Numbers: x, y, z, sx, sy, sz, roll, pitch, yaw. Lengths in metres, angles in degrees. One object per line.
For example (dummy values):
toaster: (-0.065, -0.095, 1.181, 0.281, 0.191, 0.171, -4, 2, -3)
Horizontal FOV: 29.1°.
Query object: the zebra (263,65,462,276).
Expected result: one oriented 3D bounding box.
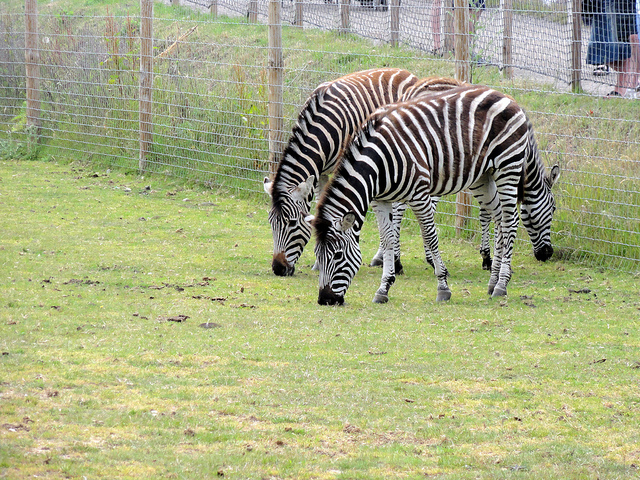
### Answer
zebra: (0.591, -0.780, 15.570, 0.864, 2.013, 3.572, 14, 41, 42)
